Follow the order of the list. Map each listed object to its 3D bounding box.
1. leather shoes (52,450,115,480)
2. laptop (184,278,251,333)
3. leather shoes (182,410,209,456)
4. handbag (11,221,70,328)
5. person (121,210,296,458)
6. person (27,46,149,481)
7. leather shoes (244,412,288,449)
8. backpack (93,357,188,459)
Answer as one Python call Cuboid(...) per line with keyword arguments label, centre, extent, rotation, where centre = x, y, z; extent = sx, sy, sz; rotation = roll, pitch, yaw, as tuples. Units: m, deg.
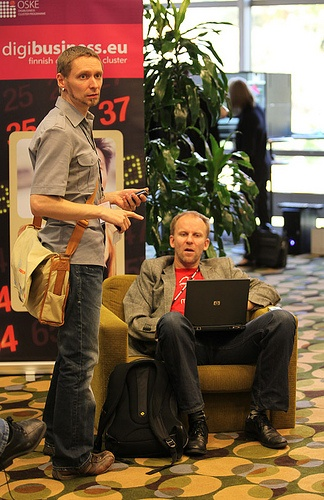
Cuboid(label="leather shoes", centre=(-0.262, 0.702, 1.673), extent=(0.197, 0.083, 0.076), rotation=(-8, 13, -29))
Cuboid(label="laptop", centre=(0.201, 0.194, 2.084), extent=(0.286, 0.238, 0.214), rotation=(1, 8, -11))
Cuboid(label="leather shoes", centre=(0.131, 0.686, 1.862), extent=(0.080, 0.122, 0.209), rotation=(-7, -2, 11))
Cuboid(label="handbag", centre=(-0.405, 0.074, 1.603), extent=(0.132, 0.257, 0.405), rotation=(7, 12, -31))
Cuboid(label="person", centre=(0.185, 0.294, 2.151), extent=(0.707, 0.942, 0.755), rotation=(5, -10, -39))
Cuboid(label="person", centre=(-0.231, 0.046, 1.657), extent=(0.419, 1.366, 0.467), rotation=(-1, 5, -7))
Cuboid(label="leather shoes", centre=(0.384, 0.699, 1.911), extent=(0.069, 0.082, 0.202), rotation=(-4, -3, -23))
Cuboid(label="backpack", centre=(-0.064, 0.588, 1.861), extent=(0.356, 0.330, 0.212), rotation=(-1, -5, 15))
